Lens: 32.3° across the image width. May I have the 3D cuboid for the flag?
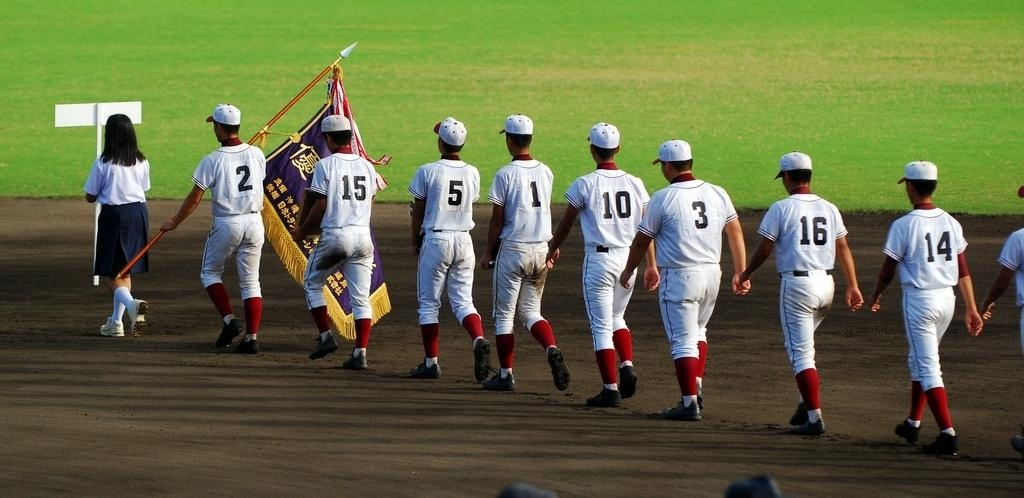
[{"bbox_3d":[-6.022,-1.158,54.059,5.457,7.101,3.762,-1,0,-32],"label":"flag"}]
